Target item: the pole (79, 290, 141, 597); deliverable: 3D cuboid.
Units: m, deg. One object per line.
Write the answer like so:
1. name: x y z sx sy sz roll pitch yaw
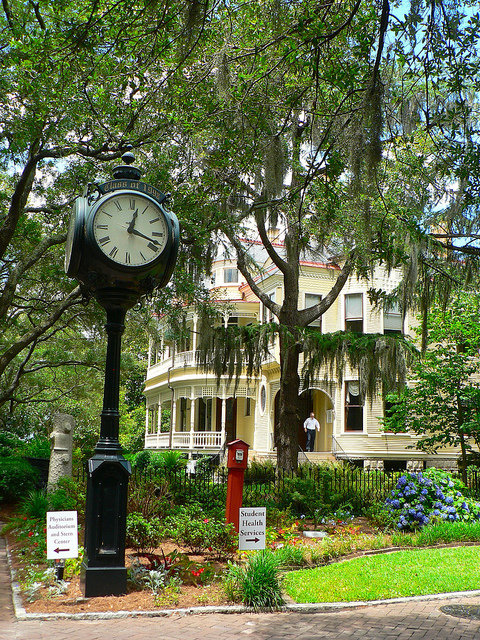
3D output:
1. pole: -1.312 1.185 6.789 0.494 3.028 0.378 2 -9 -18

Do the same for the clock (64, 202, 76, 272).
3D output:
1. clock: -1.755 -0.858 7.019 0.089 0.856 0.855 2 6 -18

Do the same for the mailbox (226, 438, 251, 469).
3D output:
1. mailbox: -0.029 1.967 9.811 0.280 0.404 0.381 0 -9 -2

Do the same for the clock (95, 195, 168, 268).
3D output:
1. clock: -1.135 -0.887 6.813 0.725 0.728 0.061 4 -14 -23

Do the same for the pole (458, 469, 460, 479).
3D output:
1. pole: 5.237 3.670 15.997 0.027 0.201 0.403 -3 -10 19
